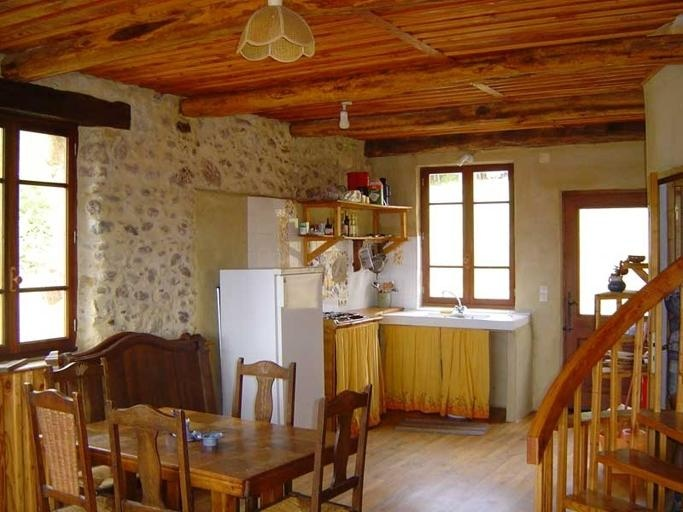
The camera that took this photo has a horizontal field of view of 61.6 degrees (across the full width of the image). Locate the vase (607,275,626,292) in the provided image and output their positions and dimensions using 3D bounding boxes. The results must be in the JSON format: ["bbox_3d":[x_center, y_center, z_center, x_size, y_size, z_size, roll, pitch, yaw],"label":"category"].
[{"bbox_3d":[2.694,0.274,5.641,0.171,0.165,0.171,-1,-3,17],"label":"vase"}]

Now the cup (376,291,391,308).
[{"bbox_3d":[0.564,0.598,7.722,0.193,0.202,0.203,0,-2,0],"label":"cup"}]

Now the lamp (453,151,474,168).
[{"bbox_3d":[1.570,-1.264,7.368,0.228,0.153,0.184,0,3,20],"label":"lamp"}]

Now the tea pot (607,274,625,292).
[{"bbox_3d":[2.693,0.269,5.737,0.171,0.202,0.172,-1,-1,0],"label":"tea pot"}]

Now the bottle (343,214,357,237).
[{"bbox_3d":[0.088,-0.377,6.966,0.172,0.286,0.419,-1,2,0],"label":"bottle"}]
